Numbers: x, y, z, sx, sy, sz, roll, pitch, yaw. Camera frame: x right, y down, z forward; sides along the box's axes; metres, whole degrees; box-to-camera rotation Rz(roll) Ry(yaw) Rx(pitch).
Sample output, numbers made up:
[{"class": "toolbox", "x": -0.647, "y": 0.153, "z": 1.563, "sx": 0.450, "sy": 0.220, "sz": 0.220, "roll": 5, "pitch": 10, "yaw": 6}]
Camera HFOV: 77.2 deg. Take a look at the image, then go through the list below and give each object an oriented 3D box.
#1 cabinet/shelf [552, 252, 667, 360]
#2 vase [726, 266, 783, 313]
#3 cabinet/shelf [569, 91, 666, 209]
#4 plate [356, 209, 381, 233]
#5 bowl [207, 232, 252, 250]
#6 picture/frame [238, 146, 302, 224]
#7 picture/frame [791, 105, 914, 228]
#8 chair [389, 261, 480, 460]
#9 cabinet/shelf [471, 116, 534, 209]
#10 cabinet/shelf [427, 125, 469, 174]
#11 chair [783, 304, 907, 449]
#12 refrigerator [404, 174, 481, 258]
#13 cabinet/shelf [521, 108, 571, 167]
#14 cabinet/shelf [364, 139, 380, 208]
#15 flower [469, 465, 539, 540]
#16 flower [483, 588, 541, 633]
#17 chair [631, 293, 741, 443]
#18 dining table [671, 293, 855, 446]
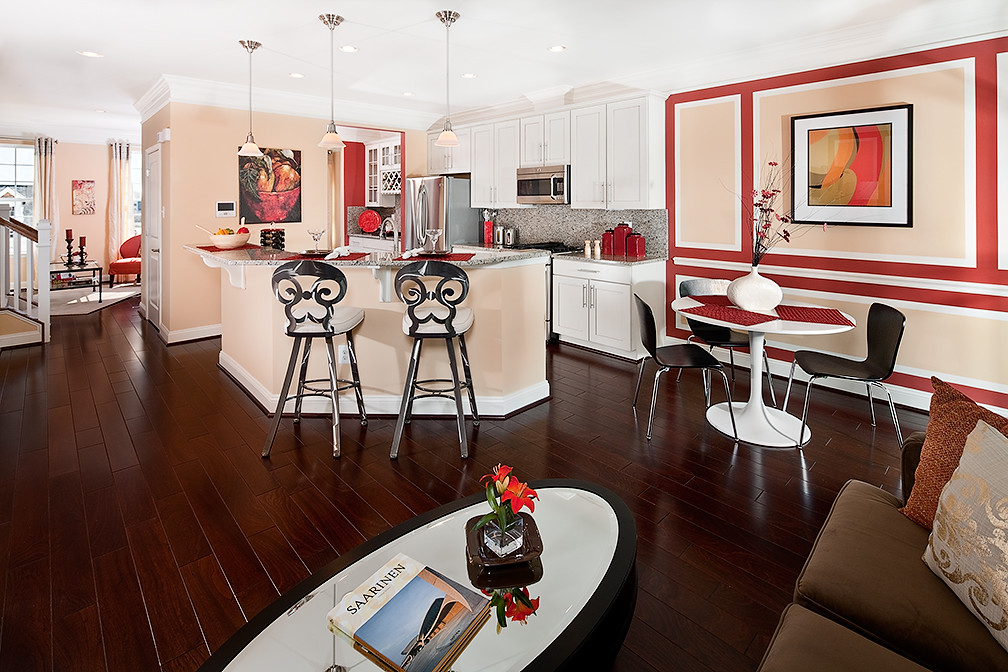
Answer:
[{"class": "cabinet/shelf", "x": 1.131, "y": -0.379, "z": 7.051, "sx": 0.645, "sy": 1.014, "sz": 1.095, "roll": -16, "pitch": 20, "yaw": -42}, {"class": "vase", "x": 2.017, "y": -0.363, "z": 5.010, "sx": 0.418, "sy": 0.445, "sz": 0.217, "roll": 6, "pitch": 13, "yaw": 27}, {"class": "cabinet/shelf", "x": 1.255, "y": -1.998, "z": 6.731, "sx": 0.482, "sy": 1.383, "sz": 1.227, "roll": -6, "pitch": 8, "yaw": -43}, {"class": "plate", "x": -2.075, "y": -1.748, "z": 9.684, "sx": 0.365, "sy": 0.350, "sz": 0.631, "roll": -4, "pitch": 13, "yaw": -13}, {"class": "bowl", "x": -2.549, "y": -0.880, "z": 5.855, "sx": 0.300, "sy": 0.148, "sz": 0.364, "roll": -6, "pitch": 13, "yaw": -21}, {"class": "picture/frame", "x": -2.805, "y": -1.787, "z": 7.427, "sx": 0.899, "sy": 1.092, "sz": 0.082, "roll": -6, "pitch": 8, "yaw": -38}, {"class": "picture/frame", "x": 3.063, "y": -1.480, "z": 5.445, "sx": 1.081, "sy": 1.169, "sz": 0.058, "roll": 6, "pitch": 13, "yaw": 39}, {"class": "chair", "x": -0.552, "y": 0.101, "z": 4.862, "sx": 0.667, "sy": 1.398, "sz": 0.896, "roll": -2, "pitch": 12, "yaw": -2}, {"class": "cabinet/shelf", "x": 0.007, "y": -2.182, "z": 7.854, "sx": 0.459, "sy": 1.303, "sz": 1.140, "roll": -5, "pitch": 8, "yaw": -42}, {"class": "cabinet/shelf", "x": -0.794, "y": -2.473, "z": 8.674, "sx": 0.631, "sy": 0.480, "sz": 0.226, "roll": -5, "pitch": 14, "yaw": -11}, {"class": "chair", "x": 2.576, "y": 0.281, "z": 4.807, "sx": 0.794, "sy": 0.984, "sz": 0.736, "roll": -2, "pitch": 14, "yaw": 2}, {"class": "refrigerator", "x": -0.971, "y": -1.570, "z": 8.581, "sx": 0.820, "sy": 1.077, "sz": 0.762, "roll": 0, "pitch": 5, "yaw": -21}, {"class": "cabinet/shelf", "x": 0.410, "y": -2.305, "z": 7.473, "sx": 0.724, "sy": 0.633, "sz": 0.284, "roll": -17, "pitch": 37, "yaw": -22}, {"class": "cabinet/shelf", "x": -1.991, "y": -2.432, "z": 9.715, "sx": 0.212, "sy": 0.925, "sz": 0.203, "roll": 0, "pitch": -1, "yaw": 8}, {"class": "flower", "x": 0.013, "y": 0.797, "z": 2.987, "sx": 0.297, "sy": 0.303, "sz": 0.282, "roll": -10, "pitch": -17, "yaw": 20}, {"class": "flower", "x": 0.085, "y": 1.242, "z": 2.873, "sx": 0.217, "sy": 0.106, "sz": 0.206, "roll": 34, "pitch": -5, "yaw": 20}, {"class": "chair", "x": 1.429, "y": 0.201, "z": 5.030, "sx": 0.731, "sy": 1.090, "sz": 0.699, "roll": -4, "pitch": 14, "yaw": -4}, {"class": "dining table", "x": 2.011, "y": 0.265, "z": 4.989, "sx": 1.282, "sy": 0.941, "sz": 1.264, "roll": -13, "pitch": 15, "yaw": -39}]
